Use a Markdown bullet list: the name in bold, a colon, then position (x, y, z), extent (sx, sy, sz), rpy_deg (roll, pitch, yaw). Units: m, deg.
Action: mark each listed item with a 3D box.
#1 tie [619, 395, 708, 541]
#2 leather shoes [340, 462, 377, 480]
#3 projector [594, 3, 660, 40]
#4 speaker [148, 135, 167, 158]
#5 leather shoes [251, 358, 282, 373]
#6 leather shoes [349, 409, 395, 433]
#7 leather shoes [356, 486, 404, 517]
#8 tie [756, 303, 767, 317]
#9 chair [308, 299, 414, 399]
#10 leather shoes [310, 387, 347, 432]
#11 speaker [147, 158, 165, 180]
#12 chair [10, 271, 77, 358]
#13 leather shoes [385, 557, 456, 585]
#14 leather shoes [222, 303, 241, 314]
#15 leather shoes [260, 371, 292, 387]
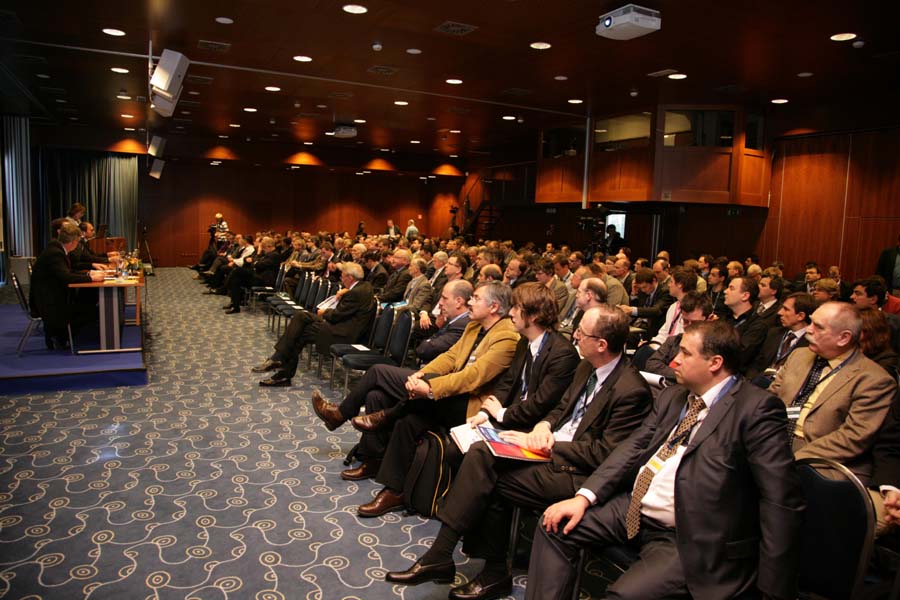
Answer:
- **tie**: position (1.184, 0.947, 3.251), extent (0.130, 0.866, 0.153), rpy_deg (30, -1, 42)
- **leather shoes**: position (-0.724, 1.393, 4.889), extent (0.315, 0.202, 0.118), rpy_deg (9, -6, -15)
- **projector**: position (1.877, -2.956, 6.330), extent (0.410, 0.171, 0.462), rpy_deg (7, 10, 41)
- **speaker**: position (-7.968, -4.215, 16.178), extent (0.380, 0.503, 1.229), rpy_deg (-2, 6, -25)
- **leather shoes**: position (-2.171, 0.778, 7.058), extent (0.413, 0.154, 0.145), rpy_deg (-9, 9, 23)
- **leather shoes**: position (-0.587, 0.909, 4.524), extent (0.424, 0.169, 0.138), rpy_deg (8, -5, -5)
- **leather shoes**: position (-0.489, 1.494, 4.433), extent (0.411, 0.176, 0.151), rpy_deg (0, -2, -26)
- **tie**: position (3.317, 0.109, 6.313), extent (0.049, 0.112, 0.114), rpy_deg (28, -18, -26)
- **chair**: position (-0.845, 0.440, 6.230), extent (0.926, 1.169, 0.940), rpy_deg (3, 4, -29)
- **leather shoes**: position (-0.991, 0.870, 4.776), extent (0.183, 0.399, 0.138), rpy_deg (-43, 40, -20)
- **speaker**: position (-8.802, -3.960, 17.889), extent (0.410, 0.511, 1.926), rpy_deg (-2, 6, -25)
- **chair**: position (-5.059, 0.058, 7.366), extent (0.535, 1.028, 1.614), rpy_deg (-3, 7, -35)
- **leather shoes**: position (-0.160, 1.651, 3.681), extent (0.452, 0.158, 0.161), rpy_deg (3, -9, 0)
- **leather shoes**: position (-4.028, 0.147, 10.881), extent (0.443, 0.181, 0.148), rpy_deg (7, 3, 24)
- **leather shoes**: position (-1.953, 0.889, 6.737), extent (0.384, 0.160, 0.159), rpy_deg (7, -4, -21)
